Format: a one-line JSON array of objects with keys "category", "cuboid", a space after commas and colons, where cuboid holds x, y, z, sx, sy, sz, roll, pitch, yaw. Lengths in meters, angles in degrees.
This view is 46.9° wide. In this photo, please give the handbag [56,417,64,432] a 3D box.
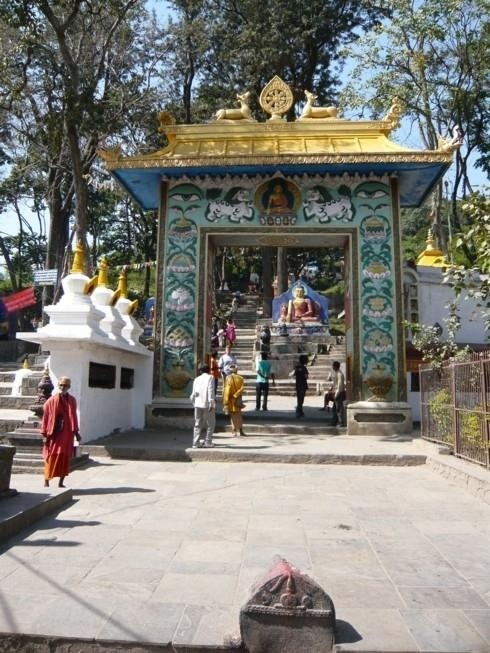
[{"category": "handbag", "cuboid": [-2.138, 1.134, 6.551, 0.104, 0.135, 0.033, 3, -11, -9]}]

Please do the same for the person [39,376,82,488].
[{"category": "person", "cuboid": [-2.180, 1.237, 6.629, 0.352, 1.227, 0.453, 2, -4, 3]}]
